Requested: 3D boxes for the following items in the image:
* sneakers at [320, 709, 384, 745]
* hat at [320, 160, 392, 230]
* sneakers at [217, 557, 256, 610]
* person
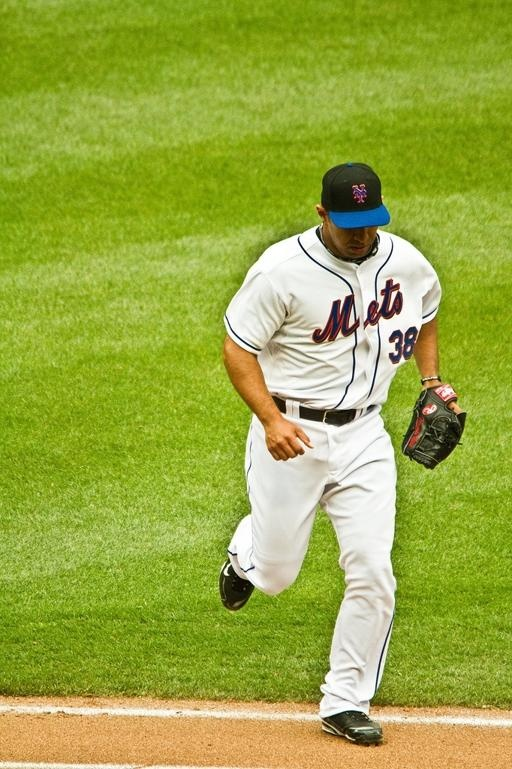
[{"bbox_3d":[0.377,1.322,5.600,0.104,0.114,0.239,5,-3,-41],"label":"sneakers"},{"bbox_3d":[0.371,-0.718,5.537,0.236,0.149,0.345,-6,37,-4],"label":"hat"},{"bbox_3d":[-0.090,0.911,6.464,0.101,0.307,0.115,-13,37,-19],"label":"sneakers"},{"bbox_3d":[0.464,0.302,5.736,0.985,2.029,1.107,-18,37,-20],"label":"person"}]
